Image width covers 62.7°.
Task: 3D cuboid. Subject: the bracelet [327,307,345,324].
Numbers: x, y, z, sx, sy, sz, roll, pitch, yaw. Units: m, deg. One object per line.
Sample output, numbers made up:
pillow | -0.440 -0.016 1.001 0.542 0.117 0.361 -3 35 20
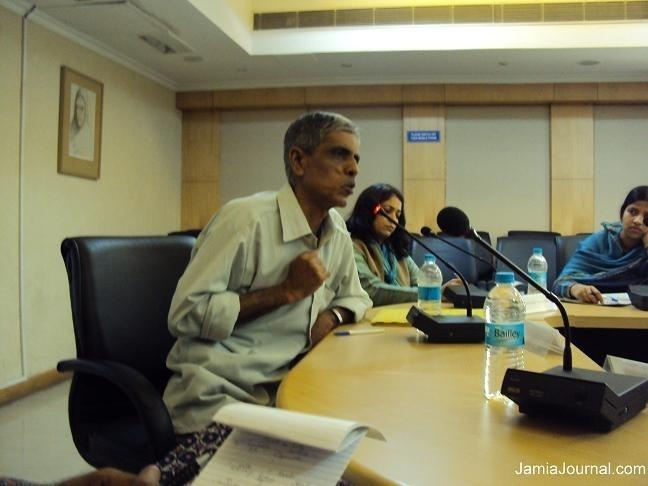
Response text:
bracelet | 0.057 0.330 2.412 0.025 0.069 0.057 -23 17 3

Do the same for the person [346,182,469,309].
person | 0.438 0.095 3.234 0.696 0.808 0.563 -2 -7 33
